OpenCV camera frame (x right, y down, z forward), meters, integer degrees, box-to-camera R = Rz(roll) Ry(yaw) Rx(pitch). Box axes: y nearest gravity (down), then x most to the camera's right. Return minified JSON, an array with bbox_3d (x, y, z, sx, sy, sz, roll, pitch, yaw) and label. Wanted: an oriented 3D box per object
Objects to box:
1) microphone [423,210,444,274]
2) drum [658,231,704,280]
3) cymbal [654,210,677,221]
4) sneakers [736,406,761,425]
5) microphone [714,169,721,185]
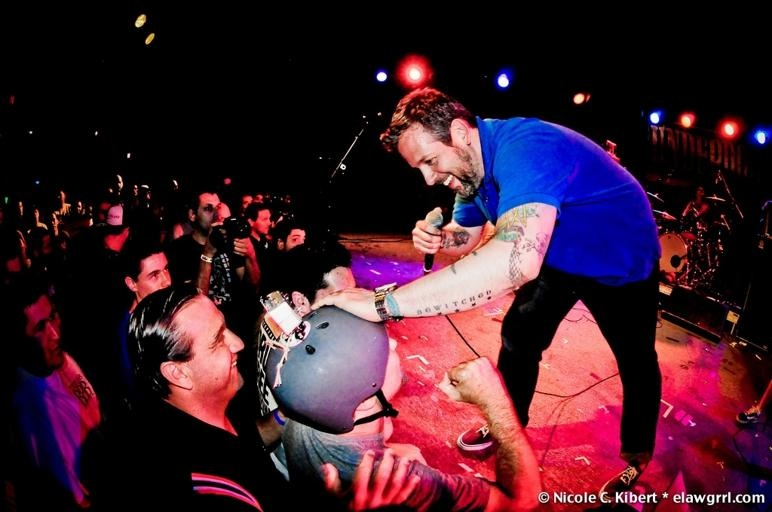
[{"bbox_3d":[0.482,-0.150,4.979,0.217,0.720,0.193,5,15,8],"label":"microphone"},{"bbox_3d":[4.796,0.006,7.681,0.526,0.947,0.762,7,-7,-39],"label":"drum"},{"bbox_3d":[5.075,-0.751,8.663,0.159,0.118,0.459,3,12,-19],"label":"cymbal"},{"bbox_3d":[4.211,1.854,5.522,0.224,0.081,0.159,-30,17,-8],"label":"sneakers"},{"bbox_3d":[5.885,-1.409,8.395,0.121,0.253,0.090,2,8,31],"label":"microphone"}]
